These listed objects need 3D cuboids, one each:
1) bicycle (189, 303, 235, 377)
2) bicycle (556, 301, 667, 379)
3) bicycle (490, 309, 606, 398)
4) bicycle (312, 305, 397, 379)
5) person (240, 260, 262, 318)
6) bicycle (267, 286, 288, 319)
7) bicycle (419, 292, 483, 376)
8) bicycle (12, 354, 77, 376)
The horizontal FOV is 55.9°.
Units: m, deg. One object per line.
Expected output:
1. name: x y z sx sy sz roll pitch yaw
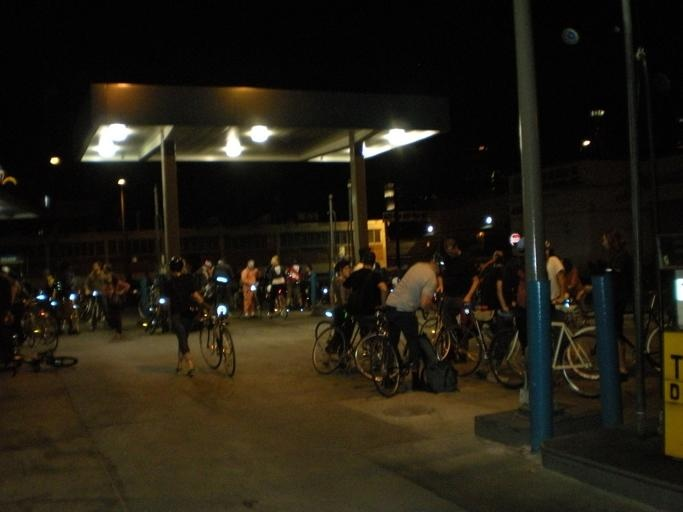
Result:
1. bicycle: -2.388 1.721 12.943 0.831 1.127 1.750 -6 -7 -24
2. bicycle: 4.127 1.367 9.924 1.407 1.245 5.118 -3 -3 25
3. bicycle: 3.301 1.536 10.007 0.905 1.294 1.854 0 3 -34
4. bicycle: 0.162 1.571 11.413 1.575 1.161 0.810 -6 -8 42
5. person: -3.404 1.207 24.049 0.596 2.147 1.445 -1 -2 -8
6. bicycle: -2.266 1.633 23.296 0.489 1.208 0.970 0 -3 -44
7. bicycle: 2.095 1.423 12.028 0.796 1.213 1.731 -10 10 4
8. bicycle: -6.493 2.274 14.023 1.386 0.379 1.673 -1 -3 -30
